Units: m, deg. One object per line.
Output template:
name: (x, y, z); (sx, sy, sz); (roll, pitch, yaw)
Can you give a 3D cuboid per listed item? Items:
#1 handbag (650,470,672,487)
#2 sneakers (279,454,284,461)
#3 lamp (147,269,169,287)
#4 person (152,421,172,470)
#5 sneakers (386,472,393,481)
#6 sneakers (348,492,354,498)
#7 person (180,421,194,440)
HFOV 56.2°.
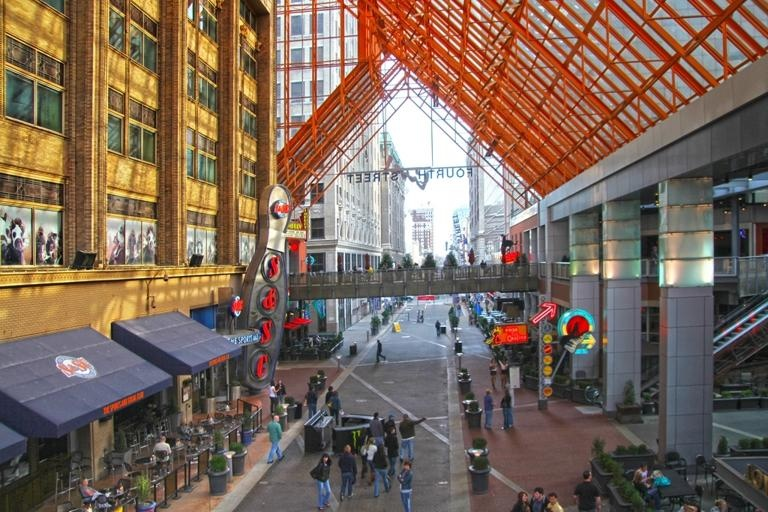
handbag: (10.331, 8.365, 26.768); (0.650, 0.794, 0.456); (-26, -25, 28)
sneakers: (-4.736, 9.262, 32.860); (0.099, 0.222, 0.309); (7, 13, 17)
lamp: (-11.370, 1.116, 35.936); (1.670, 0.782, 0.355); (-20, -22, 38)
person: (-9.962, 8.546, 32.018); (0.896, 2.189, 1.171); (2, -9, -9)
sneakers: (0.207, 9.416, 30.715); (0.223, 0.314, 0.643); (0, -2, 1)
sneakers: (-1.364, 9.767, 29.300); (0.117, 0.184, 0.408); (-1, -2, 21)
person: (-9.375, 8.362, 34.046); (0.498, 0.736, 1.315); (0, 37, -10)
